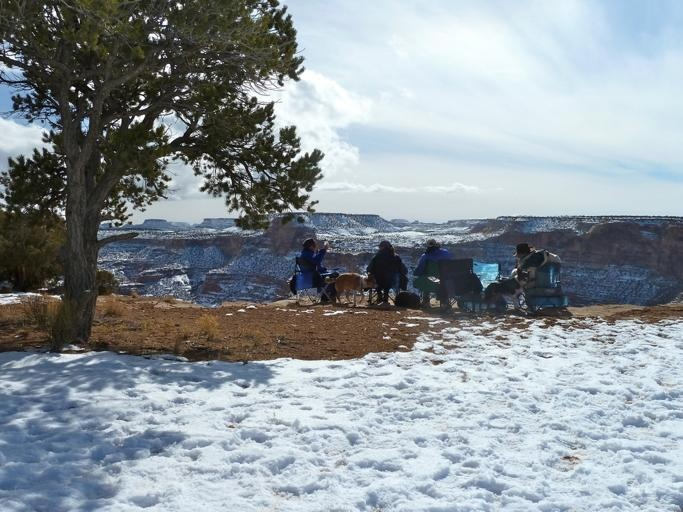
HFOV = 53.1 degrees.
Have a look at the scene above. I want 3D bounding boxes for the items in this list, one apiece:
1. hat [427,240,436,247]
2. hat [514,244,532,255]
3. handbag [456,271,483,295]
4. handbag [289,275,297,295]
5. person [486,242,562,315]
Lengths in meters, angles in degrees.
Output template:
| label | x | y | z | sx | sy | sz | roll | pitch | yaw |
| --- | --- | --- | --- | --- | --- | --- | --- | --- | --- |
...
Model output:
| label | x | y | z | sx | sy | sz | roll | pitch | yaw |
| --- | --- | --- | --- | --- | --- | --- | --- | --- | --- |
| hat | 2.033 | -0.301 | 15.234 | 0.194 | 0.137 | 0.317 | 4 | 1 | 6 |
| hat | 4.033 | -0.161 | 15.205 | 0.253 | 0.254 | 0.284 | 1 | -10 | 4 |
| handbag | 2.799 | 0.575 | 14.896 | 0.435 | 0.507 | 0.488 | 3 | 0 | 24 |
| handbag | -1.156 | 0.679 | 16.317 | 0.125 | 0.413 | 0.283 | 4 | 0 | 5 |
| person | 4.104 | 0.466 | 15.017 | 1.701 | 1.359 | 0.870 | 4 | 1 | 10 |
